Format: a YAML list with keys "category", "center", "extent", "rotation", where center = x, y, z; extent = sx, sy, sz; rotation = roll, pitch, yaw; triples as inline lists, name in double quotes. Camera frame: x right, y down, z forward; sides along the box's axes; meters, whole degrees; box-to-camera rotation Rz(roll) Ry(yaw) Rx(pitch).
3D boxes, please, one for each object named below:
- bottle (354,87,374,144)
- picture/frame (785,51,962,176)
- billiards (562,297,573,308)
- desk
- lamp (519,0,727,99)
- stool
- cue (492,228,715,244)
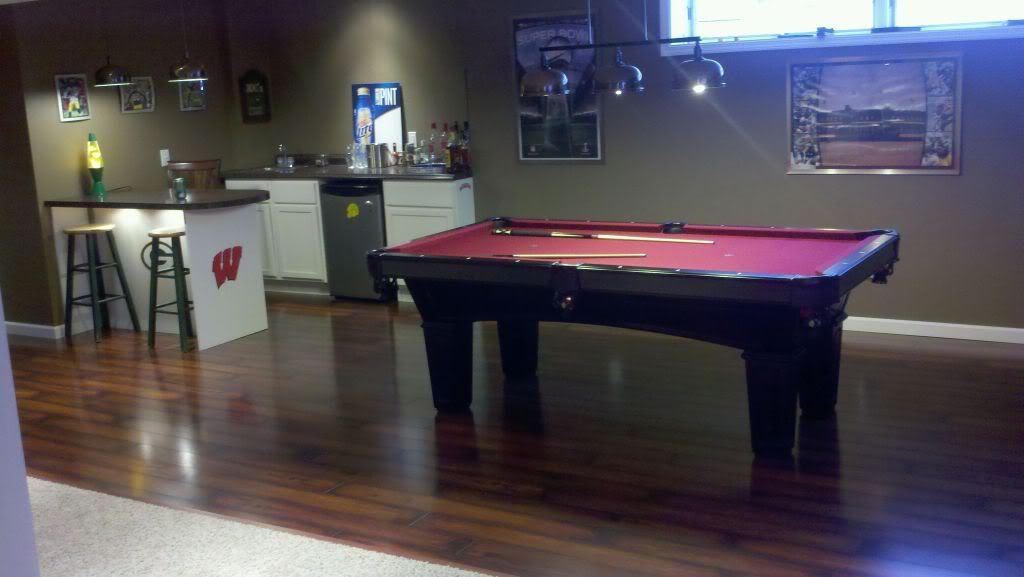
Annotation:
- category: "bottle"
  center: [-1.756, -2.090, 8.833]
  extent: [0.267, 0.672, 0.162]
  rotation: [2, 15, 12]
- category: "picture/frame"
  center: [3.274, -1.604, 6.586]
  extent: [1.405, 0.828, 0.132]
  rotation: [2, 12, 17]
- category: "billiards"
  center: [0.388, 0.088, 5.085]
  extent: [0.086, 0.071, 0.076]
  rotation: [5, 29, 12]
- category: "desk"
  center: [0.971, 0.319, 5.562]
  extent: [3.204, 1.450, 1.331]
  rotation: [4, 15, 22]
- category: "lamp"
  center: [0.773, -1.593, 5.338]
  extent: [1.479, 0.342, 0.344]
  rotation: [0, 15, 14]
- category: "stool"
  center: [-3.788, -0.014, 7.360]
  extent: [1.454, 1.015, 0.517]
  rotation: [2, 9, 16]
- category: "cue"
  center: [0.778, -0.417, 5.868]
  extent: [2.072, 0.119, 0.141]
  rotation: [1, 6, 13]
